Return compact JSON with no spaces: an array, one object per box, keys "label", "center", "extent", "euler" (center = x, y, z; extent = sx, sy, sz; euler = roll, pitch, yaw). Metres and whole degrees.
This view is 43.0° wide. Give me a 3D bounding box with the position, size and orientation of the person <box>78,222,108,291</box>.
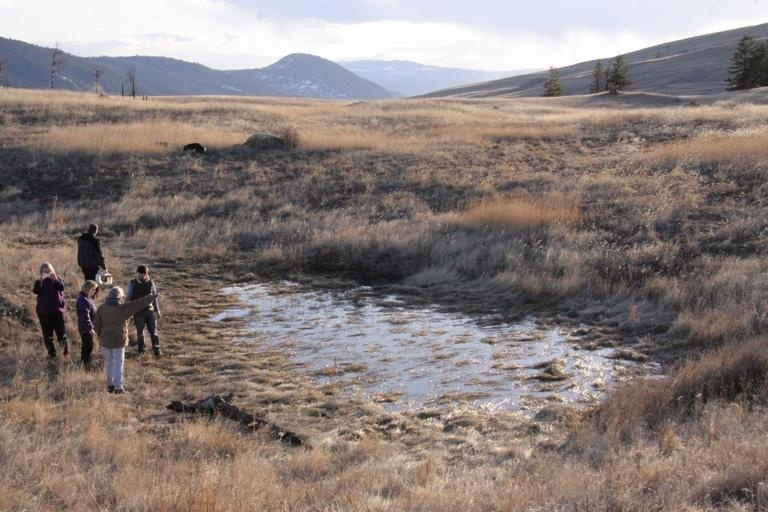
[{"label":"person","center":[-11.405,-0.108,37.772],"extent":[0.826,2.359,1.437],"euler":[-8,15,-37]}]
